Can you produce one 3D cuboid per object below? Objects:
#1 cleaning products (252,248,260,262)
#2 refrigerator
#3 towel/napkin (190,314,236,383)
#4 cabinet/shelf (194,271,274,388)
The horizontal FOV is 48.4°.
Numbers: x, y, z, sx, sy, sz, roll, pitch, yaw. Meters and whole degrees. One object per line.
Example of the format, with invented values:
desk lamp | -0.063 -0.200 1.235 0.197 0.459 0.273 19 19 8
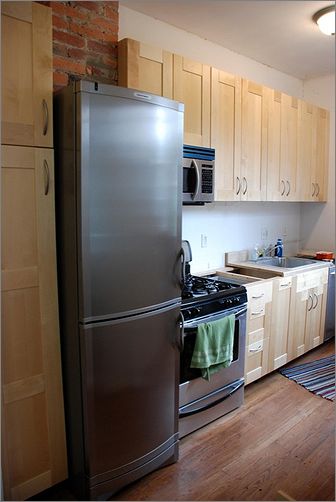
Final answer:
cleaning products | 0.793 0.026 3.408 0.069 0.112 0.137 3 6 25
refrigerator | -0.174 0.222 1.631 0.590 1.751 0.265 -3 6 -33
towel/napkin | 0.264 0.520 2.027 0.363 0.294 0.062 -5 7 -44
cabinet/shelf | 0.418 0.505 2.728 0.589 1.000 0.458 2 4 44
